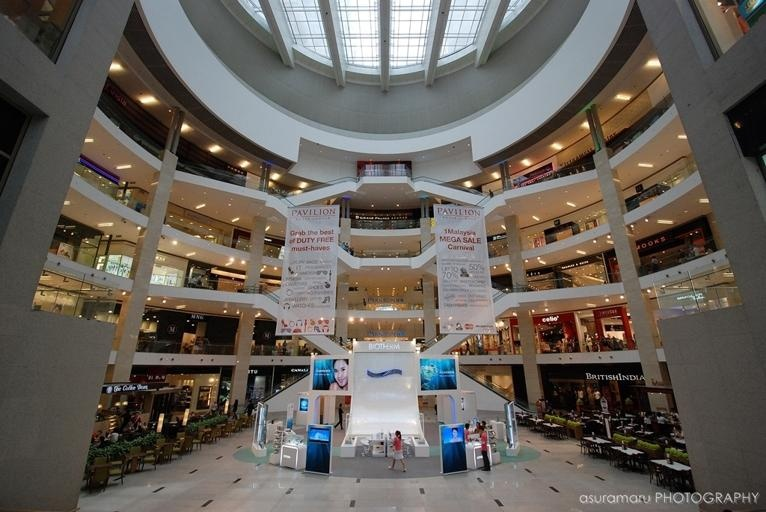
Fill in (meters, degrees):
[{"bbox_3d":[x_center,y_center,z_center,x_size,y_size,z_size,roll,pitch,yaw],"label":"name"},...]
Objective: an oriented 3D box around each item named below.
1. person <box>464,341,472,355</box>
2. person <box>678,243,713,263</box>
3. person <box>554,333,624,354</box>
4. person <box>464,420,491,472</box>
[{"bbox_3d":[6.077,6.419,28.779,0.573,0.838,1.643,-1,-5,10],"label":"person"},{"bbox_3d":[14.201,-0.152,18.460,0.479,0.791,1.501,0,-5,-5],"label":"person"},{"bbox_3d":[11.950,5.216,23.699,0.966,1.040,3.968,4,-7,-41],"label":"person"},{"bbox_3d":[3.445,6.995,14.792,0.679,2.091,0.769,-6,-18,30],"label":"person"}]
